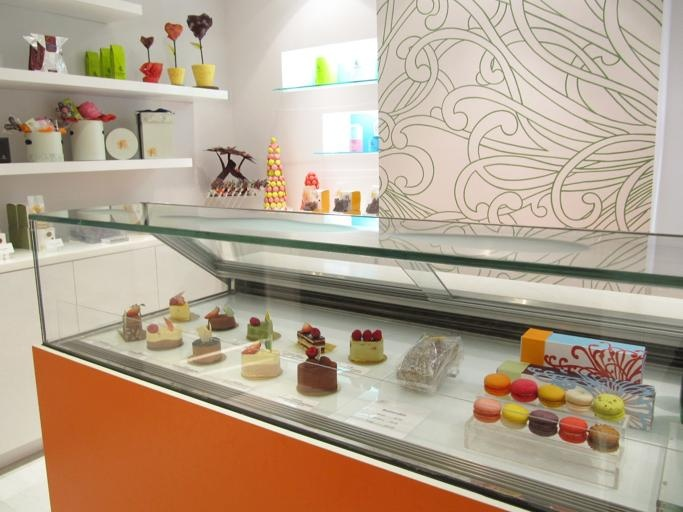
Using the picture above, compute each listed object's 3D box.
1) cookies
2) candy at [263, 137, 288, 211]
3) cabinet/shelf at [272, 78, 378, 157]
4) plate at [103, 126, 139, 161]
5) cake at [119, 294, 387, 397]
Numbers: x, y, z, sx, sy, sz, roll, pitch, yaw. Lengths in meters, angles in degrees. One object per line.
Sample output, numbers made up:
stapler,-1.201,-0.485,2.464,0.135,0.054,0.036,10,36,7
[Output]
cookies,0.470,0.346,1.020,0.310,0.094,0.094,6,15,27
candy,-0.597,-0.736,4.020,0.204,0.631,0.590,-2,13,-7
cabinet/shelf,-0.163,-1.199,4.014,1.107,0.615,0.165,6,15,27
plate,-1.716,-0.871,3.469,0.241,0.239,0.034,-15,17,-40
cake,-0.244,0.267,1.346,0.668,0.209,0.551,-8,14,-37
